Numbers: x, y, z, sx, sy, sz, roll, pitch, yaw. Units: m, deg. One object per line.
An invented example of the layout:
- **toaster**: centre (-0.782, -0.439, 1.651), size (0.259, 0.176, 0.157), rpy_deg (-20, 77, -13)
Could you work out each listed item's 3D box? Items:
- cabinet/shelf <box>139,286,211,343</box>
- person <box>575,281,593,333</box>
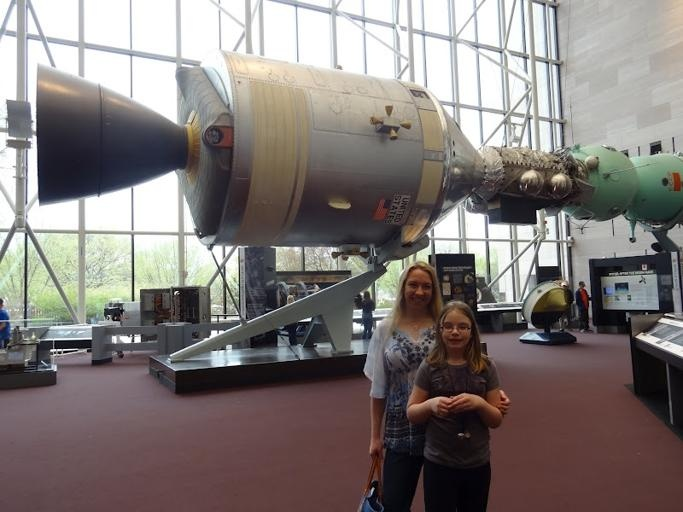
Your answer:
- **cabinet/shelf**: centre (-3.677, 1.398, 11.986), size (1.183, 0.978, 1.294), rpy_deg (0, -3, -16)
- **person**: centre (6.893, 1.479, 15.742), size (0.378, 1.260, 1.059), rpy_deg (2, 8, 24)
